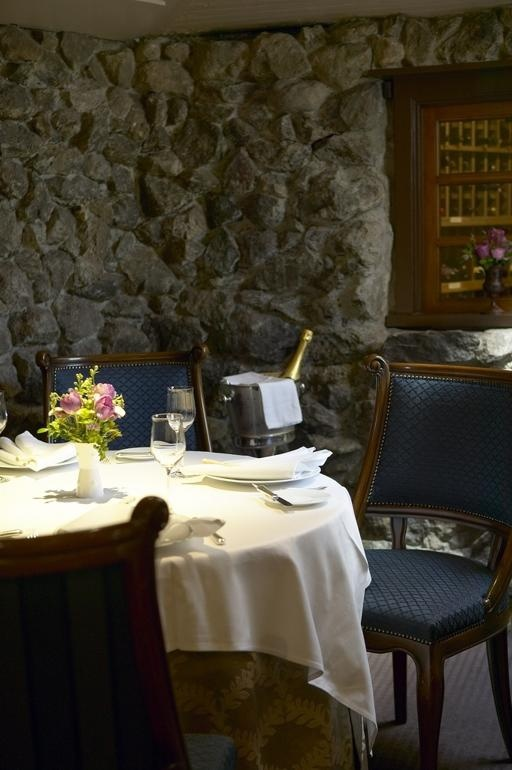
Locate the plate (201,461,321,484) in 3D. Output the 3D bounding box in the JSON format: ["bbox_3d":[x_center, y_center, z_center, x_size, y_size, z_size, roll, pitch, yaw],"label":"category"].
[{"bbox_3d":[0.014,0.190,1.334,0.154,0.032,0.102,2,3,-6],"label":"plate"}]

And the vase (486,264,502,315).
[{"bbox_3d":[1.151,-0.472,2.926,0.079,0.217,0.079,1,-19,23],"label":"vase"}]

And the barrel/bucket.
[{"bbox_3d":[-0.009,0.133,2.727,0.313,0.308,0.348,-2,1,40],"label":"barrel/bucket"}]

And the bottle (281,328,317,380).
[{"bbox_3d":[0.194,-0.149,2.930,0.120,0.243,0.401,1,6,12],"label":"bottle"}]

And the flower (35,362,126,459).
[{"bbox_3d":[-0.378,0.085,1.251,0.182,0.163,0.174,-8,-4,39],"label":"flower"}]
